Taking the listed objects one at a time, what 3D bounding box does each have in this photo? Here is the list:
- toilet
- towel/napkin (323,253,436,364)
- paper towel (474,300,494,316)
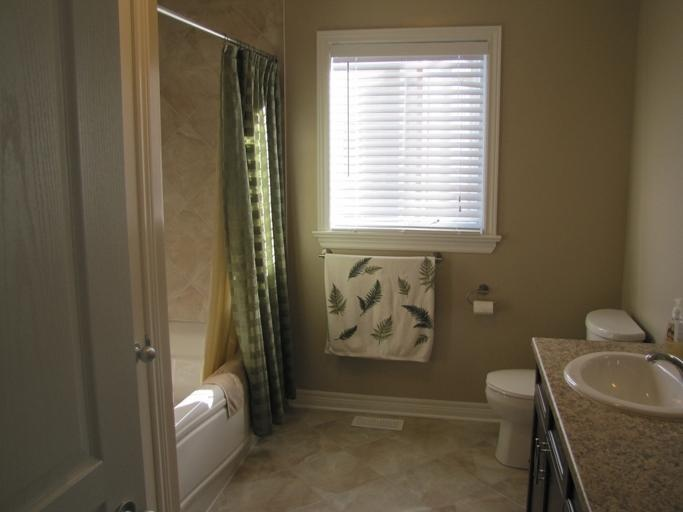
[{"bbox_3d":[1.145,0.685,2.969,0.727,0.870,0.602,-1,19,9],"label":"toilet"},{"bbox_3d":[0.253,0.304,3.268,0.576,0.583,0.051,2,10,9],"label":"towel/napkin"},{"bbox_3d":[0.835,0.307,3.165,0.120,0.095,0.070,2,11,11],"label":"paper towel"}]
